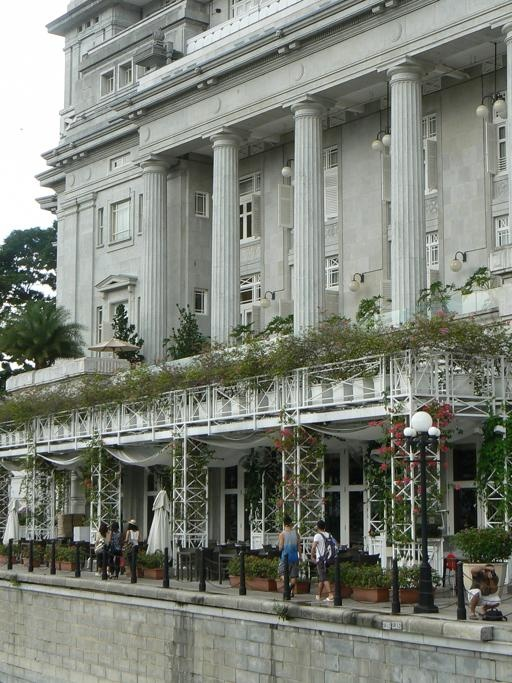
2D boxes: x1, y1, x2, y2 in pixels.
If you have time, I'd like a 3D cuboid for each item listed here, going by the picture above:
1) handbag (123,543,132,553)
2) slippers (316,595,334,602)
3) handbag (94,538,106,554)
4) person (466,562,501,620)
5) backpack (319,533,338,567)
[{"bbox_3d":[-3.393,5.336,35.972,0.280,0.275,0.285,1,-10,-13],"label":"handbag"},{"bbox_3d":[1.414,5.087,27.419,0.132,0.169,0.386,6,-16,-30],"label":"slippers"},{"bbox_3d":[-3.948,5.155,34.838,0.149,0.417,0.313,32,-28,-24],"label":"handbag"},{"bbox_3d":[4.037,4.357,24.347,0.574,1.022,0.615,12,-7,-34],"label":"person"},{"bbox_3d":[1.488,4.177,27.910,0.389,0.631,0.616,-4,-11,18],"label":"backpack"}]
